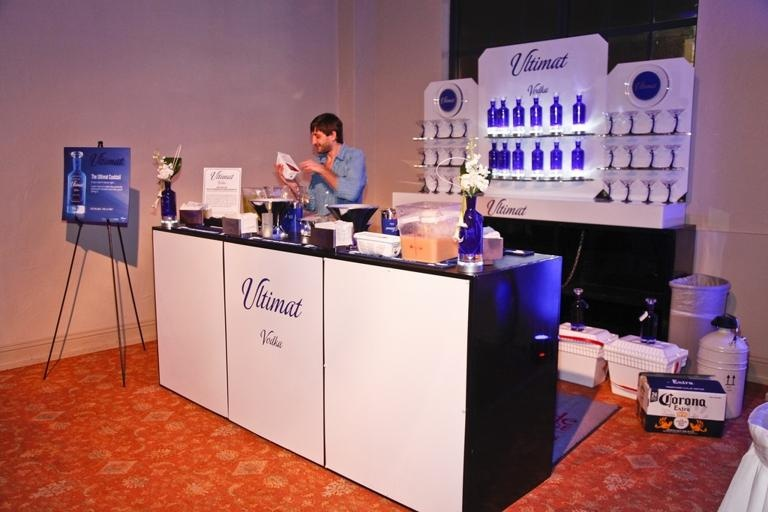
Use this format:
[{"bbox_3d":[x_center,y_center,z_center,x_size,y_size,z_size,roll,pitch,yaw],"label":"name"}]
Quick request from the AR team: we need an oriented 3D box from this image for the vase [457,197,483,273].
[{"bbox_3d":[0.540,-0.143,3.505,0.154,0.452,0.183,2,9,10],"label":"vase"}]

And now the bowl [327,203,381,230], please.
[{"bbox_3d":[-0.250,-0.309,4.355,0.406,0.306,0.427,-1,9,0],"label":"bowl"}]

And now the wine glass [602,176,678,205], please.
[{"bbox_3d":[2.561,-0.663,5.580,0.744,0.238,0.161,4,9,22],"label":"wine glass"}]

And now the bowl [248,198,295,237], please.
[{"bbox_3d":[-0.902,-0.326,4.486,0.366,0.307,0.343,4,17,-1],"label":"bowl"}]

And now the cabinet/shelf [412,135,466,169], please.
[{"bbox_3d":[0.678,-1.230,6.647,0.773,0.394,0.404,10,15,43],"label":"cabinet/shelf"}]

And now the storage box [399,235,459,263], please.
[{"bbox_3d":[0.293,-0.050,3.649,0.373,0.172,0.151,1,9,1],"label":"storage box"}]

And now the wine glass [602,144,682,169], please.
[{"bbox_3d":[2.565,-0.979,5.530,0.874,0.300,0.234,7,13,38],"label":"wine glass"}]

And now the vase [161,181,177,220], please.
[{"bbox_3d":[-1.876,-0.478,4.922,0.122,0.331,0.105,7,11,35],"label":"vase"}]

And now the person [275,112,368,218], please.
[{"bbox_3d":[-0.528,-0.834,5.187,0.704,0.947,0.993,1,9,0],"label":"person"}]

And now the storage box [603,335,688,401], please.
[{"bbox_3d":[2.348,1.005,5.070,0.452,0.545,0.620,-8,9,-40],"label":"storage box"}]
